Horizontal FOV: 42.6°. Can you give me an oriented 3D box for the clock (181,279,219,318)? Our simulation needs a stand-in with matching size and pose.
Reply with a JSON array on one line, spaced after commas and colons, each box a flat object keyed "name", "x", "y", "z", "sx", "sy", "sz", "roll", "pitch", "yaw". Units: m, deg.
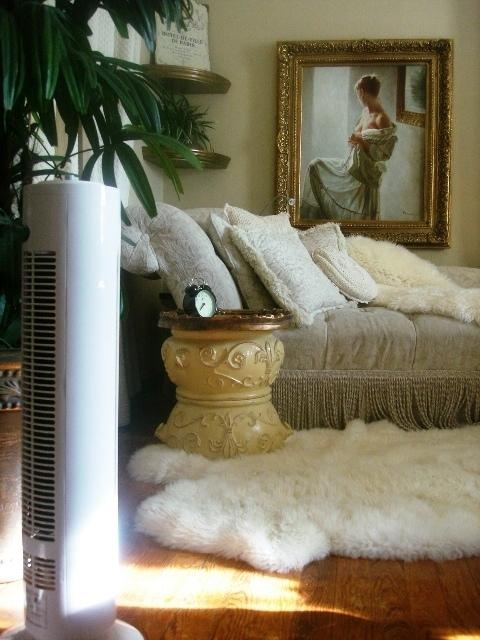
[{"name": "clock", "x": -0.117, "y": -0.064, "z": 1.756, "sx": 0.073, "sy": 0.150, "sz": 0.117, "roll": -7, "pitch": -8, "yaw": 43}]
